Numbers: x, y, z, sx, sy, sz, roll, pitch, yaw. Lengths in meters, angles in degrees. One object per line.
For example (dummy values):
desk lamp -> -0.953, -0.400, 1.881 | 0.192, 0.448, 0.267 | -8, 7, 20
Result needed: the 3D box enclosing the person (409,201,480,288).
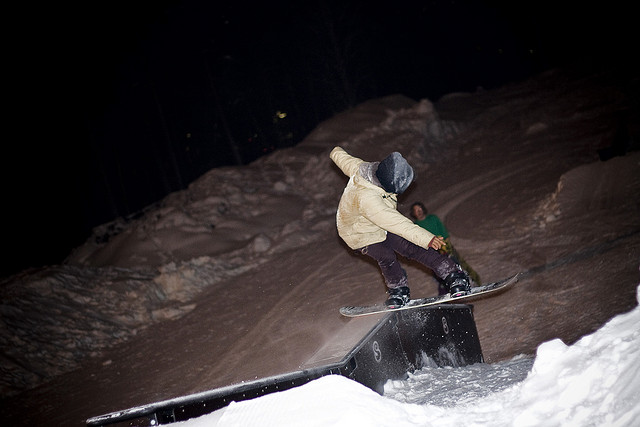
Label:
person -> 3.049, 0.831, 13.054 | 0.452, 2.679, 0.432 | -45, -21, 10
